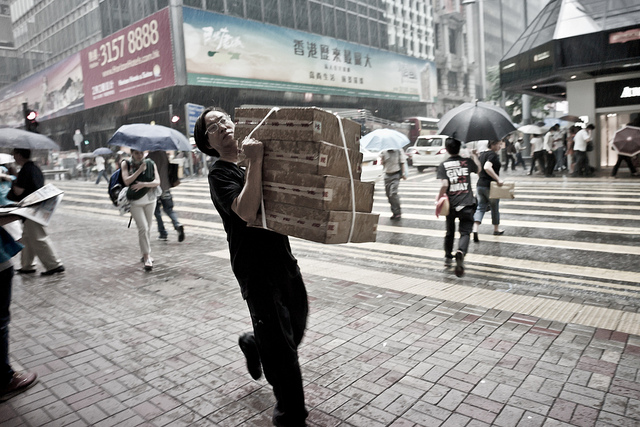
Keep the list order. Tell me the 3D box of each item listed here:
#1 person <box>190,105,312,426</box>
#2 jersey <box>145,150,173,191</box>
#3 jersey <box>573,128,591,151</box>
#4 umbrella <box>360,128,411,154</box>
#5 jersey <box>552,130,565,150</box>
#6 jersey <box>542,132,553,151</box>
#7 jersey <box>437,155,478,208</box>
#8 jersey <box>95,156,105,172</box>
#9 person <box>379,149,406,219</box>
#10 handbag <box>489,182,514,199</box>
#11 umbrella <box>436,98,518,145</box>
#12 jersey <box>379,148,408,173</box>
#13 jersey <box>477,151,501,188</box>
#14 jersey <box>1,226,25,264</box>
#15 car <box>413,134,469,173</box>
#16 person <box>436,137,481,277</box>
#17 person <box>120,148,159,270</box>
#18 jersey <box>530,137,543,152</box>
[{"bbox_3d":[-0.466,0.418,3.248,0.897,2.453,0.469,7,15,32],"label":"person"},{"bbox_3d":[-3.375,-0.904,8.913,0.404,0.865,0.334,-6,13,-20],"label":"jersey"},{"bbox_3d":[10.671,-2.997,17.167,0.594,0.802,0.806,-28,30,-19],"label":"jersey"},{"bbox_3d":[1.701,-1.867,10.967,1.101,0.650,0.912,1,12,8],"label":"umbrella"},{"bbox_3d":[11.100,-3.469,19.687,0.391,0.875,1.398,8,14,35],"label":"jersey"},{"bbox_3d":[10.085,-3.207,18.671,0.349,0.773,0.900,5,13,28],"label":"jersey"},{"bbox_3d":[2.246,-0.538,6.890,0.645,0.828,0.453,1,12,7],"label":"jersey"},{"bbox_3d":[-14.134,-3.216,27.163,0.380,0.892,1.870,-8,13,-29],"label":"jersey"},{"bbox_3d":[1.922,-0.798,11.143,0.601,1.792,0.745,1,12,8],"label":"person"},{"bbox_3d":[3.613,-0.471,8.411,0.354,0.231,0.124,6,29,21],"label":"handbag"},{"bbox_3d":[2.651,-1.579,7.146,1.172,0.757,0.941,1,12,6],"label":"umbrella"},{"bbox_3d":[1.934,-1.414,11.175,0.597,0.656,0.421,1,12,8],"label":"jersey"},{"bbox_3d":[3.512,-0.927,8.795,0.402,0.756,0.515,3,13,19],"label":"jersey"},{"bbox_3d":[-2.944,0.286,4.013,0.149,0.320,0.214,10,16,42],"label":"jersey"},{"bbox_3d":[7.385,-3.699,25.418,2.271,1.895,4.406,7,14,40],"label":"car"},{"bbox_3d":[2.189,-0.163,6.829,0.620,2.100,1.230,3,13,18],"label":"person"},{"bbox_3d":[-3.208,-0.102,7.680,0.604,2.169,1.042,-6,13,-23],"label":"person"},{"bbox_3d":[9.839,-3.137,19.111,0.423,0.646,0.579,4,13,24],"label":"jersey"}]
